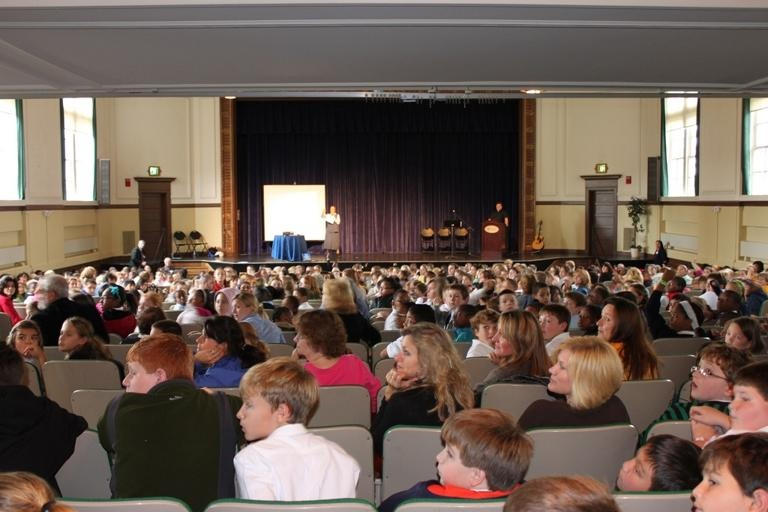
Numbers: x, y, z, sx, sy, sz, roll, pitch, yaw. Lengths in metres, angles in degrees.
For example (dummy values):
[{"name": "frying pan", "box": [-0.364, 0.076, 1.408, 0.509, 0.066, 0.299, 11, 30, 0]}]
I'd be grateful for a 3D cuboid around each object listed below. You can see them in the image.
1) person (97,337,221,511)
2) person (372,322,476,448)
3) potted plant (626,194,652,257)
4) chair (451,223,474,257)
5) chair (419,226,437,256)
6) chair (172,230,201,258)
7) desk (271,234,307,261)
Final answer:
[{"name": "person", "box": [-1.136, 0.829, 2.993, 0.631, 0.820, 0.466, 0, -2, 33]}, {"name": "person", "box": [0.227, 0.779, 3.529, 0.508, 0.773, 0.565, -1, 10, -11]}, {"name": "potted plant", "box": [7.683, -0.890, 18.095, 0.724, 1.883, 0.591, 2, -2, -34]}, {"name": "chair", "box": [2.477, -0.497, 19.049, 0.820, 1.361, 0.975, 0, -6, 3]}, {"name": "chair", "box": [1.422, -0.465, 19.538, 0.661, 1.088, 0.772, 0, -1, 0]}, {"name": "chair", "box": [-6.392, -0.411, 19.161, 1.071, 1.025, 0.796, -4, 11, -39]}, {"name": "desk", "box": [-2.859, -0.252, 17.773, 0.849, 0.549, 0.857, 0, -1, -1]}]
